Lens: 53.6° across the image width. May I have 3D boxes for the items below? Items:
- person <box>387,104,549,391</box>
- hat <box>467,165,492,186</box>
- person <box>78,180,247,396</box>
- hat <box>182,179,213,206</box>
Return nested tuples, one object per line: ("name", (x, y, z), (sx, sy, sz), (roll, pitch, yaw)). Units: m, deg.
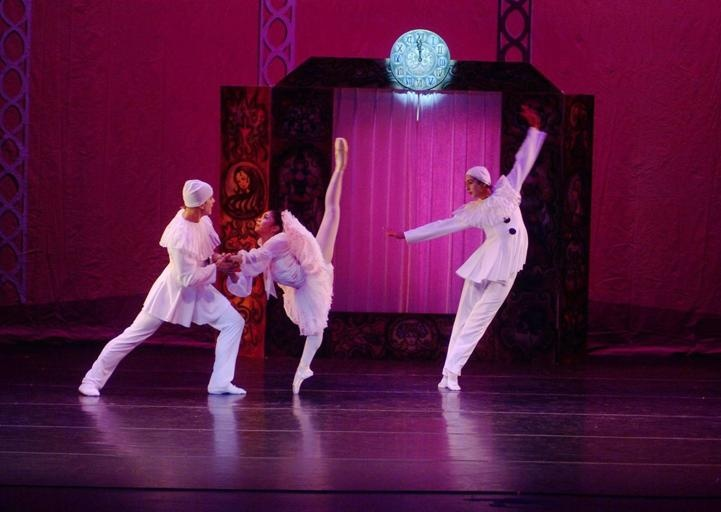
("person", (0.892, -0.071, 5.161), (0.998, 1.981, 0.468), (-3, 8, -29))
("hat", (0.883, -0.576, 5.115), (0.184, 0.156, 0.134), (4, 5, -35))
("person", (-1.221, 0.212, 4.666), (0.941, 1.397, 0.340), (-1, 7, -10))
("hat", (-1.055, -0.427, 4.696), (0.191, 0.172, 0.144), (-1, 39, -8))
